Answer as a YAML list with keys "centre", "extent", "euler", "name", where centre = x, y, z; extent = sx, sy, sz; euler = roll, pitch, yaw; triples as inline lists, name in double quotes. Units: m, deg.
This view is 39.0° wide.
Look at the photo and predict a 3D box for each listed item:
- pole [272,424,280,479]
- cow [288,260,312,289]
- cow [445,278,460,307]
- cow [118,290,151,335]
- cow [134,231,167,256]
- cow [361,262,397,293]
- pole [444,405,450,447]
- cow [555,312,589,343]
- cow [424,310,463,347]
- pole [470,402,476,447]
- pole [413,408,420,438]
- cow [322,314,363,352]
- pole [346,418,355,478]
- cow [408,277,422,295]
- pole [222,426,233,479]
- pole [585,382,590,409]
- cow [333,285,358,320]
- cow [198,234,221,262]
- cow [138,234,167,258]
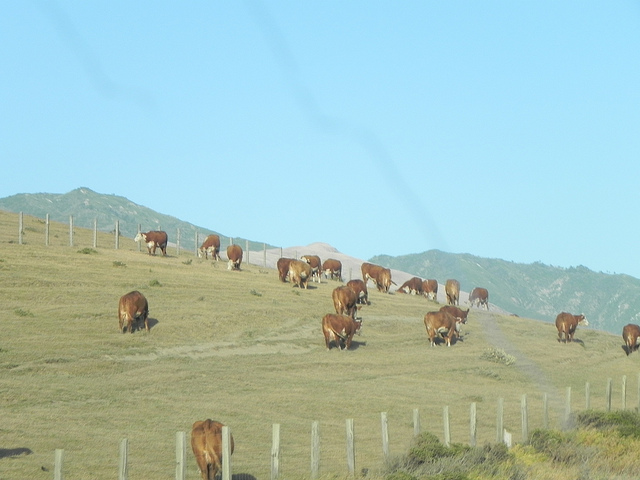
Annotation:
- centre: [-1.643, 7.762, 33.289]
  extent: [0.216, 2.122, 0.158]
  euler: [-1, 5, -2]
  name: "pole"
- centre: [-1.663, 2.338, 63.801]
  extent: [0.827, 2.034, 3.186]
  euler: [0, 12, -30]
  name: "cow"
- centre: [10.946, 4.283, 75.069]
  extent: [1.018, 2.123, 3.633]
  euler: [1, -5, 7]
  name: "cow"
- centre: [-9.609, 3.693, 47.321]
  extent: [0.761, 2.351, 3.466]
  euler: [-2, 4, 14]
  name: "cow"
- centre: [-12.131, 0.193, 65.353]
  extent: [1.807, 1.939, 2.186]
  euler: [3, -5, -5]
  name: "cow"
- centre: [4.491, 2.971, 71.281]
  extent: [2.265, 2.283, 2.143]
  euler: [1, -5, 13]
  name: "cow"
- centre: [5.295, 7.712, 37.794]
  extent: [0.235, 1.593, 0.707]
  euler: [1, -5, 9]
  name: "pole"
- centre: [17.244, 5.932, 61.956]
  extent: [0.957, 2.170, 3.388]
  euler: [2, -1, 40]
  name: "cow"
- centre: [7.745, 5.411, 55.522]
  extent: [3.317, 2.191, 0.883]
  euler: [5, -10, -38]
  name: "cow"
- centre: [6.492, 7.762, 38.325]
  extent: [0.209, 1.793, 0.414]
  euler: [1, -5, 11]
  name: "pole"
- centre: [4.006, 7.570, 37.616]
  extent: [0.225, 1.158, 0.488]
  euler: [-1, -6, 32]
  name: "pole"
- centre: [1.483, 5.302, 51.677]
  extent: [0.917, 2.022, 3.171]
  euler: [-9, -12, 41]
  name: "cow"
- centre: [1.198, 8.038, 35.314]
  extent: [0.326, 2.166, 0.655]
  euler: [2, -5, 2]
  name: "pole"
- centre: [8.063, 3.846, 76.711]
  extent: [1.113, 1.541, 2.454]
  euler: [2, -5, 5]
  name: "cow"
- centre: [-3.378, 7.566, 32.380]
  extent: [0.313, 1.816, 0.322]
  euler: [2, -5, -8]
  name: "pole"
- centre: [13.092, 7.570, 44.343]
  extent: [0.131, 1.187, 0.734]
  euler: [1, -5, 10]
  name: "pole"
- centre: [1.748, 3.764, 55.903]
  extent: [0.714, 1.835, 2.529]
  euler: [1, -16, 40]
  name: "cow"
- centre: [-8.802, 0.593, 72.011]
  extent: [1.409, 2.311, 3.670]
  euler: [3, -5, -10]
  name: "cow"
- centre: [-11.758, 0.318, 65.236]
  extent: [0.851, 1.461, 1.618]
  euler: [-2, -6, 37]
  name: "cow"
